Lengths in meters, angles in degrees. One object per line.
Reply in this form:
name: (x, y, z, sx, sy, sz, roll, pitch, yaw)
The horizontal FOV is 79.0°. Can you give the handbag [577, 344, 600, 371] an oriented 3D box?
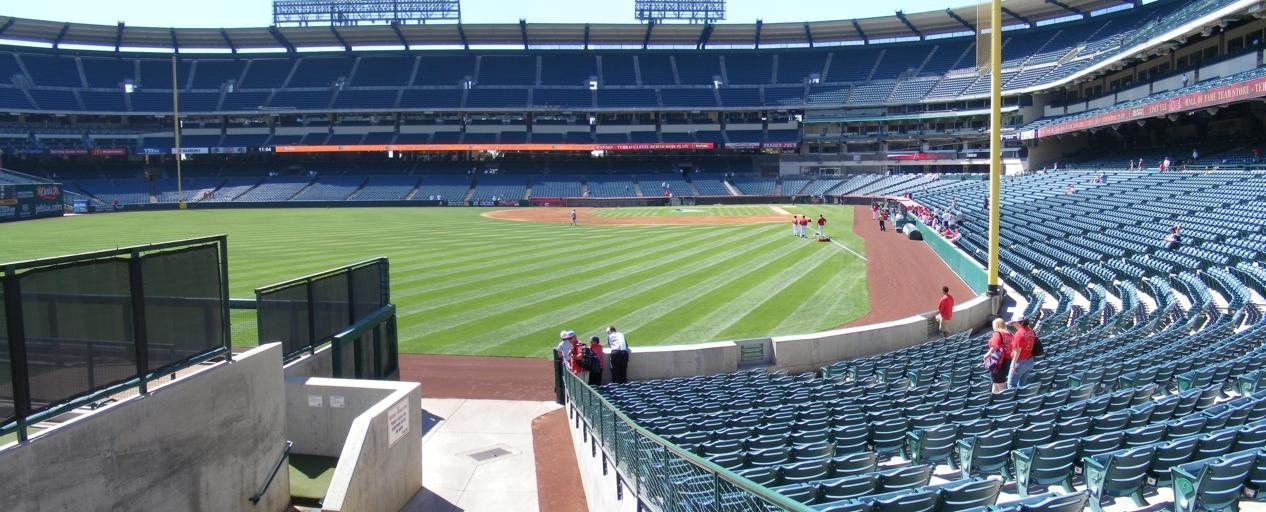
handbag: (-2.599, 6.121, 46.650, 2.101, 1.203, 1.162, -2, 6, -10)
